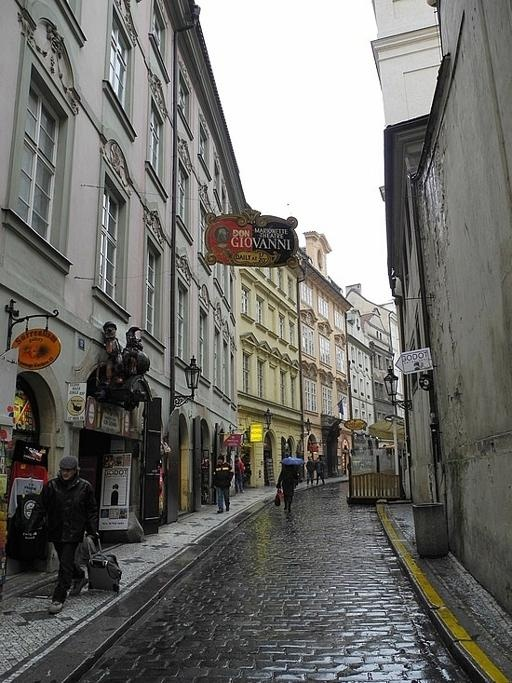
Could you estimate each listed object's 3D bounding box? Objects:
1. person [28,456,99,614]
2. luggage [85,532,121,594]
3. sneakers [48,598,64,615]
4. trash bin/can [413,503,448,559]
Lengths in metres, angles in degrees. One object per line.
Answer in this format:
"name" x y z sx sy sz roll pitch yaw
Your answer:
"person" -1.944 1.828 4.683 0.524 1.700 0.633 0 -3 4
"luggage" -1.759 2.539 5.269 0.342 0.699 0.292 3 12 8
"sneakers" -1.873 2.492 4.274 0.056 0.084 0.167 3 -9 9
"trash bin/can" 2.771 2.910 7.235 0.402 0.904 0.611 -1 -2 9
